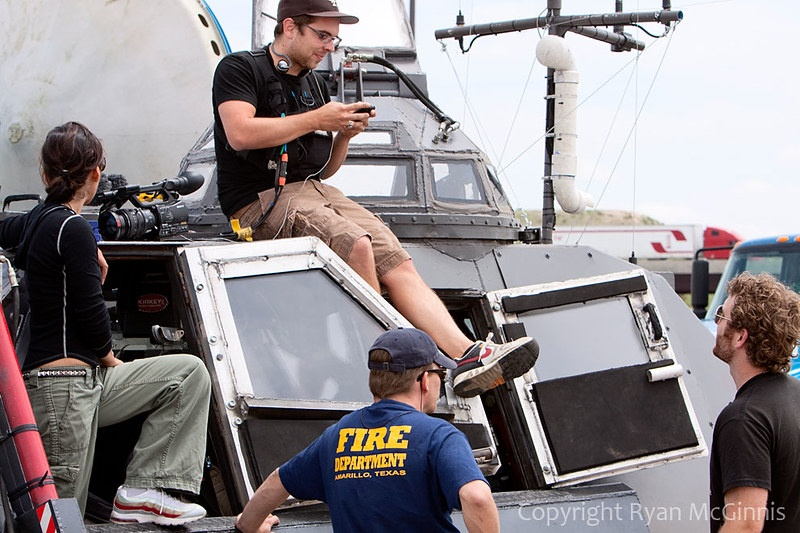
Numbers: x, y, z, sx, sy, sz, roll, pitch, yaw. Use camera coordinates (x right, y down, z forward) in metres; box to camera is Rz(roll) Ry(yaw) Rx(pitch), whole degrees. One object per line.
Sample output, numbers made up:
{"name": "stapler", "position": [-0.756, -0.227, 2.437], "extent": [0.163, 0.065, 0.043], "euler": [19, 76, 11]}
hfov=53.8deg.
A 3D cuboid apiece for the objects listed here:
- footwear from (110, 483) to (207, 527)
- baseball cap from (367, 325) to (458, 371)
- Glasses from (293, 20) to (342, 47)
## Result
{"name": "footwear", "position": [-1.395, 1.378, 4.613], "extent": [0.553, 0.250, 0.198], "euler": [2, -2, -10]}
{"name": "baseball cap", "position": [0.077, 0.426, 4.141], "extent": [0.319, 0.151, 0.216], "euler": [3, -4, -28]}
{"name": "Glasses", "position": [-0.638, -1.764, 5.961], "extent": [0.167, 0.049, 0.162], "euler": [33, 8, 22]}
